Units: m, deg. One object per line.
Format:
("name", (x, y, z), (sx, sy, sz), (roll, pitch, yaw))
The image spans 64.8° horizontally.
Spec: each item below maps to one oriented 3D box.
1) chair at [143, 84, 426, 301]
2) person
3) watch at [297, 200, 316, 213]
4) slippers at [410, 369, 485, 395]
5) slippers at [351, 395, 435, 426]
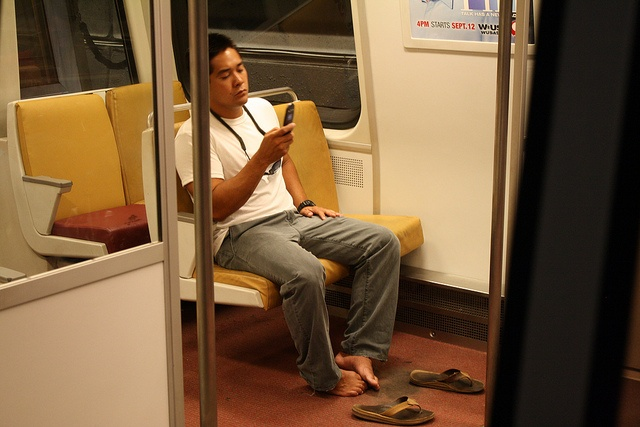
("chair", (-0.132, -0.096, 2.674), (0.723, 0.966, 1.279), (4, 11, 30))
("person", (-0.113, -0.028, 2.809), (1.056, 1.894, 0.713), (4, 15, 19))
("watch", (-0.081, -0.052, 3.099), (0.101, 0.101, 0.068), (1, 31, 2))
("slippers", (0.699, 0.926, 2.782), (0.312, 0.086, 0.153), (4, 13, 23))
("slippers", (0.367, 0.950, 2.509), (0.292, 0.093, 0.164), (1, 1, 11))
